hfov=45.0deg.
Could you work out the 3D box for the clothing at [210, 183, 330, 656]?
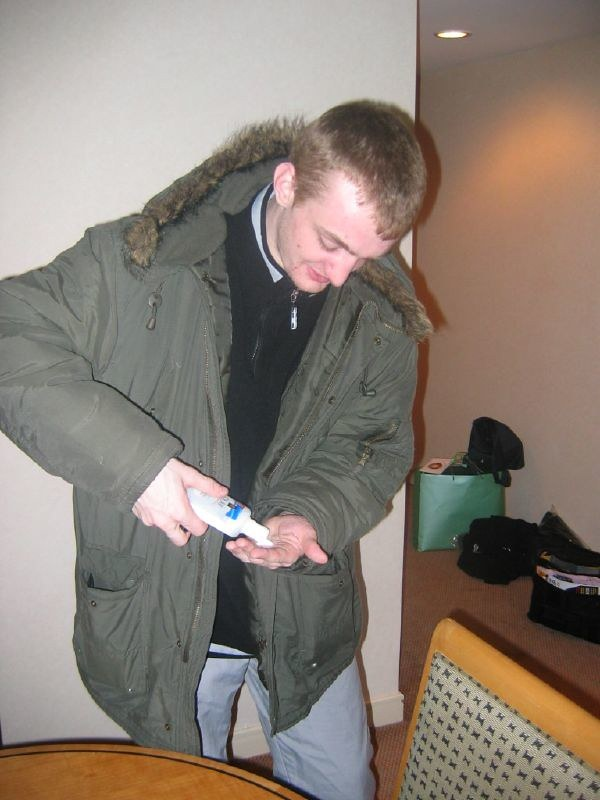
[{"bbox_3d":[-0.119,0.039,1.392,0.251,0.825,0.115,2,12,-37],"label":"clothing"}]
